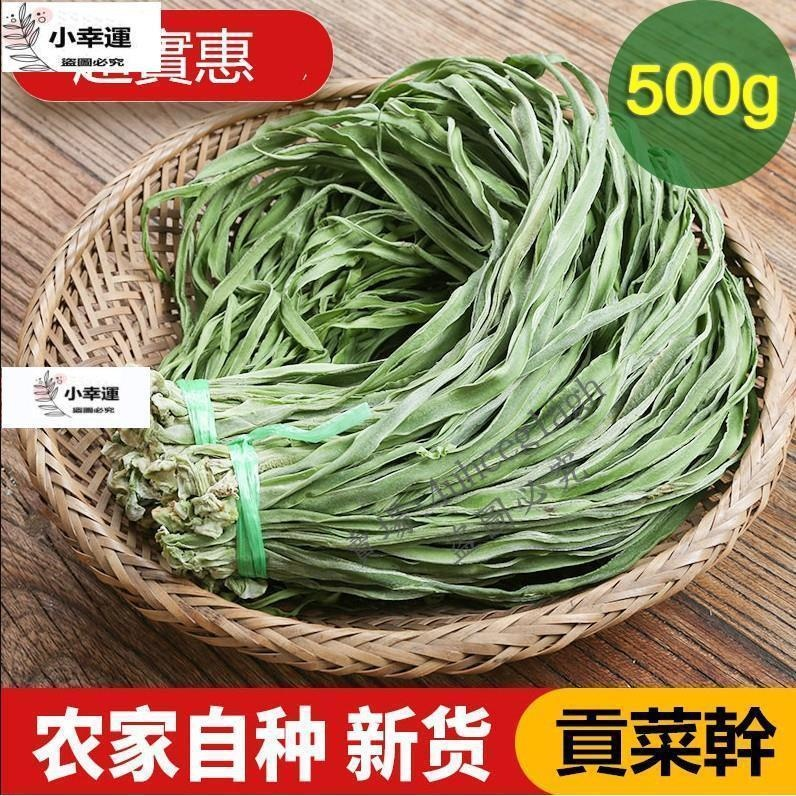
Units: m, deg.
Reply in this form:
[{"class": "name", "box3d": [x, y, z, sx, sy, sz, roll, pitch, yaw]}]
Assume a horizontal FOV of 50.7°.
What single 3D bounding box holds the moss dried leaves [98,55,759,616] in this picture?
[{"class": "moss dried leaves", "box3d": [0.038, -0.026, 1.018, 1.013, 0.377, 0.664, -3, 53, -7]}]
